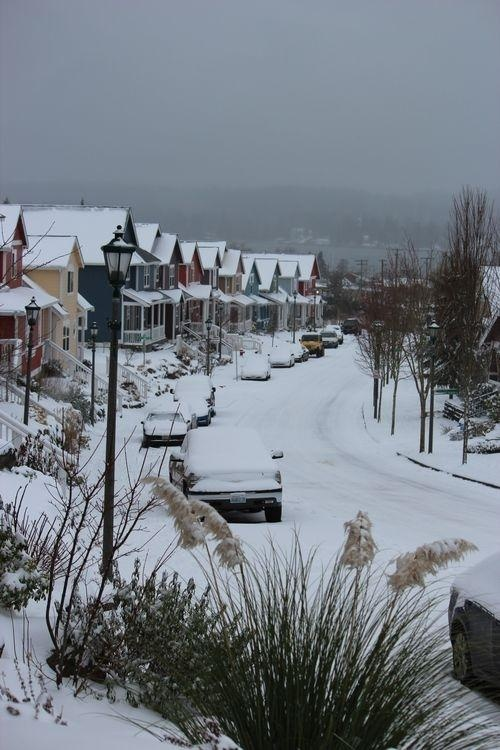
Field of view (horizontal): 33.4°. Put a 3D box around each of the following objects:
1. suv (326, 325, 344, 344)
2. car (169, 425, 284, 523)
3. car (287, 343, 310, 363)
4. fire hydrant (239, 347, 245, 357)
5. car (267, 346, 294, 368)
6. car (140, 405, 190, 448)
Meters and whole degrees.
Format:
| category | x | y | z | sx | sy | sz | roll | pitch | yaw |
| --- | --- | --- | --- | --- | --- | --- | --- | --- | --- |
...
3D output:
| category | x | y | z | sx | sy | sz | roll | pitch | yaw |
| --- | --- | --- | --- | --- | --- | --- | --- | --- | --- |
| suv | 7.197 | -3.427 | 68.727 | 1.061 | 1.487 | 2.717 | -1 | 1 | 4 |
| car | -0.385 | 1.610 | 13.356 | 1.599 | 1.351 | 2.414 | -2 | -1 | -6 |
| car | 2.951 | -1.298 | 51.109 | 1.006 | 1.133 | 2.784 | 0 | 0 | 4 |
| fire hydrant | -0.509 | -1.385 | 51.411 | 0.290 | 0.515 | 0.341 | 1 | -2 | -7 |
| car | 1.802 | -1.006 | 48.104 | 1.013 | 1.184 | 2.877 | -1 | 2 | 5 |
| car | -2.295 | 1.380 | 22.423 | 1.136 | 1.318 | 3.214 | -2 | 1 | 1 |
